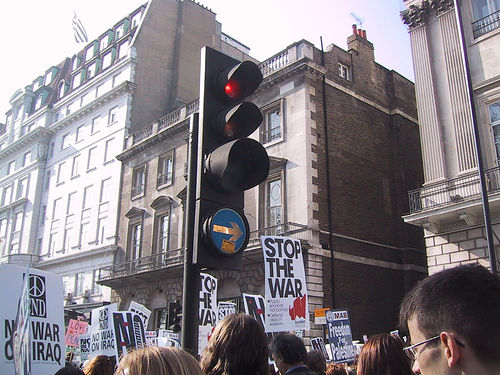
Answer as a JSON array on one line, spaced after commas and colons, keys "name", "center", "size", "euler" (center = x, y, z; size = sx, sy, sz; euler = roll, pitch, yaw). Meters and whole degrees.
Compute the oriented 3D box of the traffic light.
[{"name": "traffic light", "center": [-0.145, -0.337, 4.189], "size": [0.638, 2.106, 0.472], "euler": [8, -23, -27]}]
